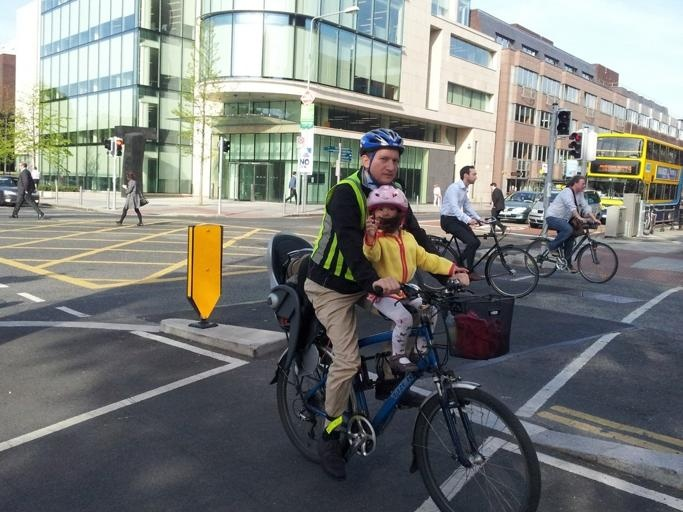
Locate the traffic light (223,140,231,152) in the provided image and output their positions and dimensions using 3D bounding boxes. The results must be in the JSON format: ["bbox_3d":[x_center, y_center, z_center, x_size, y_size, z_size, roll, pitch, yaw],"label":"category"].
[{"bbox_3d":[-5.359,-5.152,27.658,0.291,0.540,1.450,-2,10,-12],"label":"traffic light"}]

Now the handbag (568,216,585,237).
[{"bbox_3d":[4.509,-0.577,11.393,0.245,0.324,0.350,-30,4,3],"label":"handbag"}]

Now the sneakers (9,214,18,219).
[{"bbox_3d":[-11.719,-1.425,21.290,0.222,0.153,0.074,-18,52,-40],"label":"sneakers"}]

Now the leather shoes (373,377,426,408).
[{"bbox_3d":[0.374,0.888,3.901,0.300,0.125,0.180,1,2,20],"label":"leather shoes"}]

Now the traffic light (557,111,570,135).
[{"bbox_3d":[6.166,-3.729,16.569,0.392,0.708,0.475,4,10,27],"label":"traffic light"}]

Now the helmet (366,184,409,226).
[{"bbox_3d":[0.281,-0.316,3.708,0.166,0.233,0.201,1,-3,4],"label":"helmet"}]

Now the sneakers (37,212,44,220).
[{"bbox_3d":[-10.868,-1.455,21.485,0.217,0.204,0.548,10,-8,-17],"label":"sneakers"}]

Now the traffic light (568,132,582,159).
[{"bbox_3d":[7.003,-3.334,17.839,0.317,0.805,0.973,4,10,24],"label":"traffic light"}]

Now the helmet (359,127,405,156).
[{"bbox_3d":[0.241,-0.747,3.967,0.170,0.125,0.242,-3,1,-28],"label":"helmet"}]

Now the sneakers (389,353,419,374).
[{"bbox_3d":[0.397,0.697,3.830,0.177,0.129,0.115,0,9,3],"label":"sneakers"}]

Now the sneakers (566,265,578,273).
[{"bbox_3d":[4.455,0.253,11.589,0.104,0.121,0.263,-2,-8,7],"label":"sneakers"}]

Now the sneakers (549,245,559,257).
[{"bbox_3d":[4.083,-0.094,11.466,0.143,0.153,0.188,2,-15,-4],"label":"sneakers"}]
